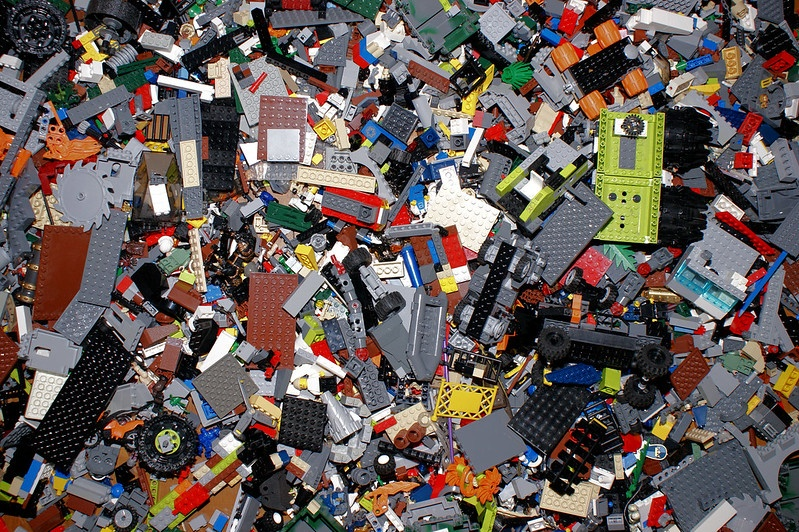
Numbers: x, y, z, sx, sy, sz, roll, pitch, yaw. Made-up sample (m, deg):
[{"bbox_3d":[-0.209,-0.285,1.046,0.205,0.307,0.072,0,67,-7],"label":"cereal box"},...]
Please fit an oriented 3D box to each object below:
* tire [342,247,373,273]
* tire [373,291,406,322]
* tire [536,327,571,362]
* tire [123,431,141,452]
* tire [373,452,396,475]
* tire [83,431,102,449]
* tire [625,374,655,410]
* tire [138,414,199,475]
[{"bbox_3d":[-0.525,-0.060,8.412,0.275,0.285,0.298,-4,67,-28],"label":"tire"},{"bbox_3d":[-0.124,0.466,8.282,0.376,0.178,0.267,-29,85,-3],"label":"tire"},{"bbox_3d":[1.795,0.929,8.205,0.408,0.258,0.432,6,84,0],"label":"tire"},{"bbox_3d":[-3.100,2.025,8.177,0.216,0.074,0.238,3,84,21],"label":"tire"},{"bbox_3d":[-0.169,2.301,8.142,0.246,0.121,0.267,2,84,-1],"label":"tire"},{"bbox_3d":[-3.544,2.040,8.180,0.129,0.045,0.232,44,85,3],"label":"tire"},{"bbox_3d":[2.748,1.511,8.323,0.331,0.290,0.362,9,60,-14],"label":"tire"},{"bbox_3d":[-2.685,2.047,8.161,0.686,0.141,0.638,-9,85,-2],"label":"tire"}]
